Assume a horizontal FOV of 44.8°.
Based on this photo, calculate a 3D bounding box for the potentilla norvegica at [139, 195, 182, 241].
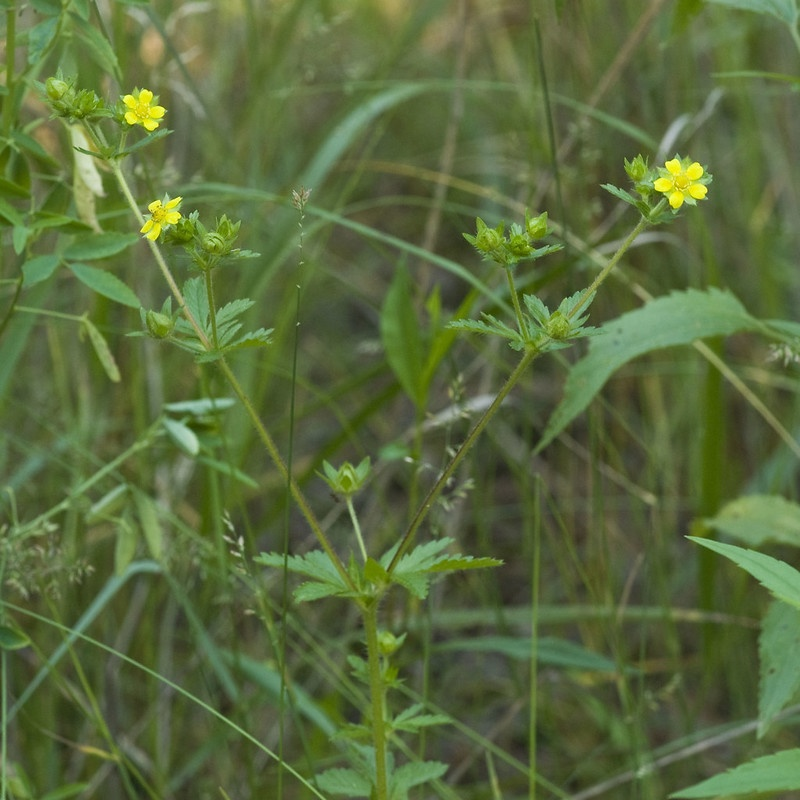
[{"bbox_3d":[-0.280,-0.217,1.138,0.044,0.052,0.139,-9,25,-11],"label":"potentilla norvegica"}]

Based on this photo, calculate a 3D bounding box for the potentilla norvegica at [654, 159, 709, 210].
[{"bbox_3d":[0.305,-0.247,1.079,0.058,0.024,0.070,-8,-3,-14],"label":"potentilla norvegica"}]
